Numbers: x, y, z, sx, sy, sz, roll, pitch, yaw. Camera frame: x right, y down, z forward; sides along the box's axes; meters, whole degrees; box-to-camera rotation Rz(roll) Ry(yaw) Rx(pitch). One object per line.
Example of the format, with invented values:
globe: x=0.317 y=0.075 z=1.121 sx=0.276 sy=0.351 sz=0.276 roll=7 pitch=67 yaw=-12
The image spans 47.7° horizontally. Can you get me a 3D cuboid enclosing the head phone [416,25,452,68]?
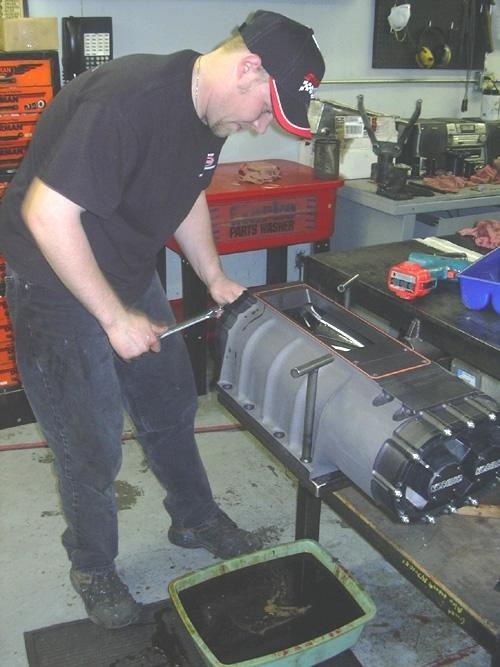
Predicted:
head phone: x=1.165 y=-1.859 z=3.619 sx=0.227 sy=0.228 sz=0.112 roll=-15 pitch=22 yaw=-32

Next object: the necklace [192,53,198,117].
necklace: x=-0.104 y=-0.480 z=1.096 sx=0.014 sy=0.097 sz=0.025 roll=0 pitch=16 yaw=-5

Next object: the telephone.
telephone: x=-0.718 y=-1.300 z=2.455 sx=0.222 sy=0.153 sz=0.285 roll=-11 pitch=-22 yaw=-21

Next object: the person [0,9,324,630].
person: x=-0.243 y=0.067 z=1.347 sx=0.625 sy=1.462 sz=0.535 roll=-3 pitch=17 yaw=-15

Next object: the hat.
hat: x=0.055 y=-0.471 z=1.018 sx=0.144 sy=0.209 sz=0.074 roll=1 pitch=16 yaw=-1

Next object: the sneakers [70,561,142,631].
sneakers: x=-0.370 y=0.699 z=1.474 sx=0.109 sy=0.077 sz=0.205 roll=-10 pitch=26 yaw=-37
